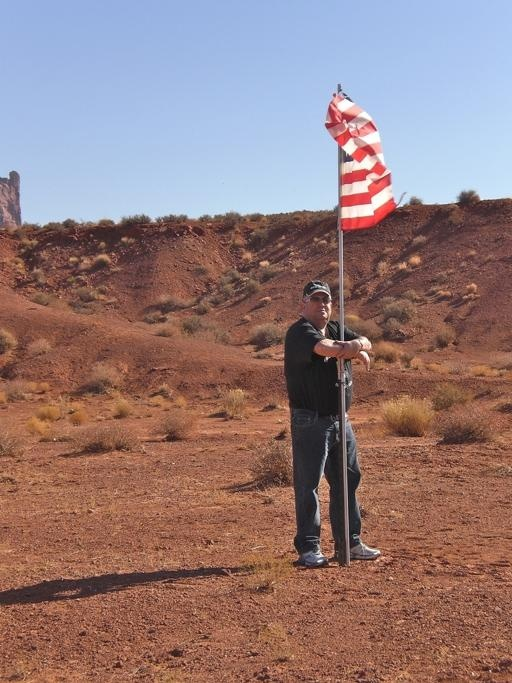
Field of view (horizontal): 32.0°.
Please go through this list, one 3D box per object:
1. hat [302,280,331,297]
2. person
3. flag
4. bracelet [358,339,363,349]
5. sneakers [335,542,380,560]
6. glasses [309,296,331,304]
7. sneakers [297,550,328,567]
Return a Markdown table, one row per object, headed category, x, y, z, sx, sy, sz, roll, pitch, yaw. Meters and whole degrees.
| category | x | y | z | sx | sy | sz | roll | pitch | yaw |
| --- | --- | --- | --- | --- | --- | --- | --- | --- | --- |
| hat | 0.460 | -0.420 | 6.776 | 0.185 | 0.127 | 0.288 | -1 | -6 | -2 |
| person | 0.546 | 0.637 | 6.795 | 0.705 | 2.198 | 0.743 | -1 | 5 | 28 |
| flag | 0.814 | -1.437 | 6.972 | 0.495 | 1.108 | 0.470 | -3 | 5 | 9 |
| bracelet | 0.769 | 0.012 | 6.489 | 0.017 | 0.054 | 0.042 | 2 | 5 | 12 |
| sneakers | 0.774 | 1.633 | 6.939 | 0.379 | 0.165 | 0.133 | 0 | 0 | -2 |
| glasses | 0.491 | -0.313 | 6.734 | 0.163 | 0.073 | 0.058 | -5 | 5 | -27 |
| sneakers | 0.428 | 1.655 | 6.807 | 0.103 | 0.108 | 0.258 | 7 | -14 | -37 |
